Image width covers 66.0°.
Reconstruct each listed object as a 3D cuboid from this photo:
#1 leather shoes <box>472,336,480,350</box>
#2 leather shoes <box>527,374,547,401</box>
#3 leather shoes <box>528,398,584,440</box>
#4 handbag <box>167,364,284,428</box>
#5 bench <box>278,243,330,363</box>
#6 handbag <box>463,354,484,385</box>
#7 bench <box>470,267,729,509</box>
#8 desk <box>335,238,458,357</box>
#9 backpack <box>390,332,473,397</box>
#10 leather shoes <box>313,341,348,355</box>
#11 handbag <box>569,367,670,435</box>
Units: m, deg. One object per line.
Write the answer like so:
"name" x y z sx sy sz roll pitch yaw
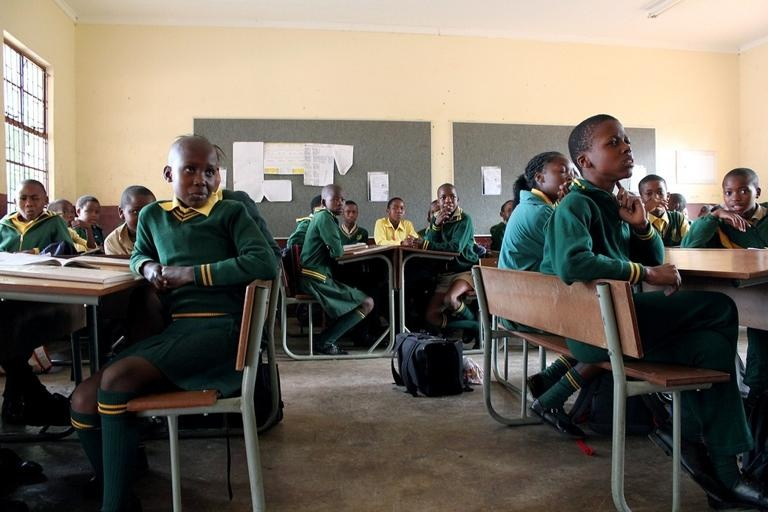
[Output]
"leather shoes" 0.753 0.696 4.783 0.086 0.100 0.111 -3 -3 2
"leather shoes" 0.803 0.683 3.118 0.099 0.115 0.127 0 -8 -1
"leather shoes" 0.874 0.828 3.057 0.329 0.129 0.119 27 11 6
"handbag" -0.811 0.772 3.112 0.425 0.236 0.396 0 -1 -20
"bench" -0.629 0.409 5.287 0.608 0.898 1.381 6 -7 -9
"handbag" 0.570 0.740 3.859 0.129 0.056 0.165 1 11 -7
"bench" 0.982 0.596 2.625 0.419 0.610 1.018 -3 4 -17
"desk" 0.140 0.218 4.945 1.253 1.080 0.832 0 -2 -2
"backpack" 0.265 0.668 3.904 0.404 0.319 0.544 -1 0 -15
"leather shoes" -0.444 0.727 4.697 0.315 0.118 0.101 0 3 -5
"handbag" 1.231 0.750 3.148 0.447 0.388 0.306 -9 5 11
